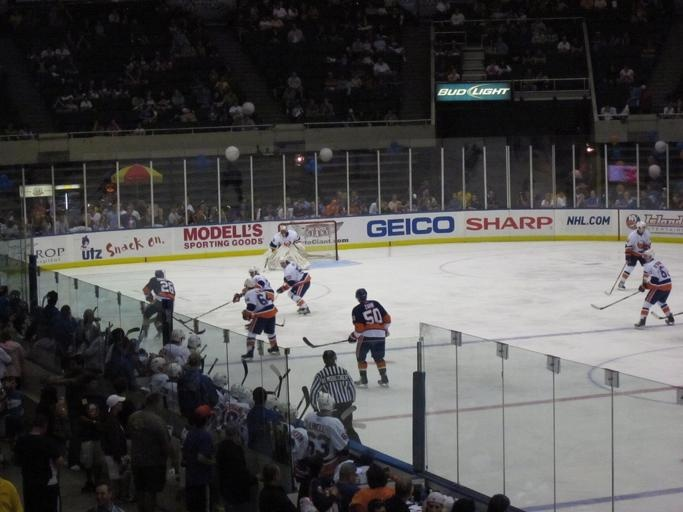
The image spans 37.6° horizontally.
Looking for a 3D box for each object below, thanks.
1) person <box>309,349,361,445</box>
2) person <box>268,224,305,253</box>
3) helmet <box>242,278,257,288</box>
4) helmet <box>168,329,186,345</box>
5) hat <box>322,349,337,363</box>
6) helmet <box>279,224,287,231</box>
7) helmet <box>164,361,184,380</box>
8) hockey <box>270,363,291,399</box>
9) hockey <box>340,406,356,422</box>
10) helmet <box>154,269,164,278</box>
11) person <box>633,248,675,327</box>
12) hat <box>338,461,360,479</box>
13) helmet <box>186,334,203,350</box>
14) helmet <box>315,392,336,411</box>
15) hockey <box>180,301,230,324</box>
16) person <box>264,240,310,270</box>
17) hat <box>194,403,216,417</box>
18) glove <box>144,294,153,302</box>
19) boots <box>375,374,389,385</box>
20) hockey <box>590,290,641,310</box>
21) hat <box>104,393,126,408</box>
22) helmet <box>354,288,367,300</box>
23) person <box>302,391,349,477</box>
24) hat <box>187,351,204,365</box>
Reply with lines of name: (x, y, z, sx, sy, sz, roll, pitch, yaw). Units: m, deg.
person: (-0.108, 1.941, 13.079, 0.650, 1.428, 0.398, -3, -6, -19)
person: (-1.361, -0.443, 25.863, 1.236, 0.460, 1.307, -1, -21, -3)
helmet: (-1.616, 0.493, 17.780, 0.167, 0.182, 0.220, -14, 17, -22)
helmet: (-2.354, 1.156, 14.459, 0.182, 0.200, 0.212, 8, 14, 6)
hat: (-0.153, 1.295, 12.954, 0.154, 0.171, 0.174, -1, -34, -11)
helmet: (-1.419, -0.713, 24.528, 0.164, 0.193, 0.493, -2, 10, -6)
helmet: (-2.317, 1.577, 13.890, 0.189, 0.208, 0.227, 4, 16, 2)
hockey: (-0.793, 1.585, 12.768, 0.308, 0.449, 0.080, 4, 12, 28)
hockey: (0.090, 2.029, 12.975, 0.215, 0.132, 0.052, -45, 9, 11)
helmet: (-3.349, 0.323, 18.399, 0.136, 0.122, 0.134, -2, 9, 12)
person: (6.209, 0.579, 19.624, 0.705, 1.370, 2.136, 2, 10, 18)
hat: (0.074, 2.521, 11.852, 0.212, 0.235, 0.246, -2, 10, -4)
helmet: (-2.071, 1.223, 14.189, 0.184, 0.234, 0.239, 9, 22, 14)
helmet: (-0.203, 1.790, 12.453, 0.184, 0.195, 0.224, 3, 11, 3)
hockey: (-2.805, 1.158, 20.717, 1.091, 0.353, 0.073, -26, -33, -4)
person: (-1.365, -0.045, 25.693, 0.875, 0.433, 0.848, -19, 23, -35)
hat: (-1.674, 1.895, 12.372, 0.211, 0.083, 0.160, -12, 17, -29)
glove: (-3.345, 0.723, 17.452, 0.162, 0.090, 0.219, 0, 5, -2)
boots: (0.559, 1.607, 13.087, 0.072, 0.163, 0.183, -8, 12, -43)
hockey: (5.866, 0.925, 20.980, 0.431, 0.229, 2.138, 31, 16, 32)
hat: (-2.937, 1.856, 13.031, 0.235, 0.108, 0.158, -14, 14, -14)
helmet: (0.315, 0.625, 16.224, 0.165, 0.201, 0.203, 2, 16, -1)
person: (-0.223, 2.179, 12.356, 0.548, 0.954, 0.366, 9, 14, 43)
hat: (-1.950, 1.367, 13.445, 0.156, 0.167, 0.175, 3, 12, -3)
